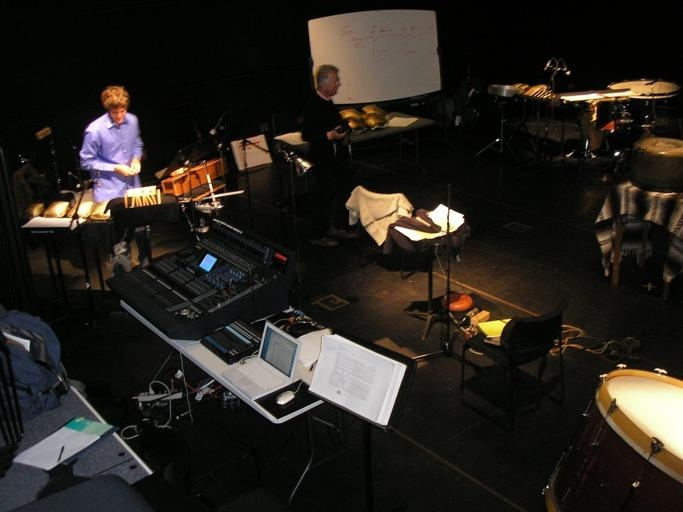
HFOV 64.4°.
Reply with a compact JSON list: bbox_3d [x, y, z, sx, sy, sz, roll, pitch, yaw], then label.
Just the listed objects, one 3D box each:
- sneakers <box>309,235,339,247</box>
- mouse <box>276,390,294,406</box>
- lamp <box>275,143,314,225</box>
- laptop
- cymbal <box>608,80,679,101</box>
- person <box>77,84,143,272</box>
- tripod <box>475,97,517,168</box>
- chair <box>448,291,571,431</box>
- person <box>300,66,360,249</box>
[{"bbox_3d":[-0.228,-0.181,7.078,0.406,0.156,0.135,0,31,15],"label":"sneakers"},{"bbox_3d":[-0.362,0.926,3.547,0.144,0.061,0.063,-21,26,-36],"label":"mouse"},{"bbox_3d":[-0.723,-1.186,8.086,0.561,1.142,0.277,-1,-12,-8],"label":"lamp"},{"bbox_3d":[-0.551,0.712,3.670,0.406,0.290,0.419,19,25,38],"label":"laptop"},{"bbox_3d":[4.659,-2.521,8.369,0.868,0.282,1.044,-12,22,-16],"label":"cymbal"},{"bbox_3d":[-2.355,-0.796,5.710,0.657,1.831,0.964,-14,23,-19],"label":"person"},{"bbox_3d":[2.753,-2.323,9.774,0.640,0.926,1.374,0,22,14],"label":"tripod"},{"bbox_3d":[1.440,0.786,4.559,0.989,0.897,0.703,-16,24,-24],"label":"chair"},{"bbox_3d":[-0.210,-1.287,6.986,0.629,2.186,0.851,-5,22,2],"label":"person"}]
